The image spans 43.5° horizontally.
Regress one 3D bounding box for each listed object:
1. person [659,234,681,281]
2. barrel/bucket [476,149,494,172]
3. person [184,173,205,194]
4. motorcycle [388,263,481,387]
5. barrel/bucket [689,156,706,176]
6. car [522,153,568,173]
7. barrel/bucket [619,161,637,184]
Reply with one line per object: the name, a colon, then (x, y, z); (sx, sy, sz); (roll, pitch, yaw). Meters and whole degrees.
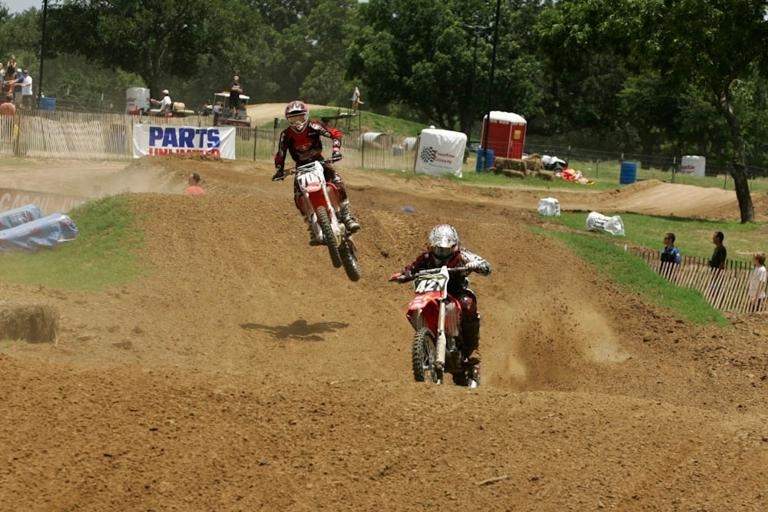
person: (7.477, -0.026, 25.160); (0.531, 1.080, 1.345); (5, 7, 16)
barrel/bucket: (4.690, -4.462, 44.480); (0.807, 1.005, 1.276); (4, 7, 6)
person: (-5.590, -2.150, 28.335); (0.428, 0.674, 0.816); (17, 18, 41)
motorcycle: (1.119, 1.436, 19.208); (1.626, 2.484, 0.929); (-2, 9, -40)
barrel/bucket: (17.745, -5.219, 55.229); (1.244, 1.110, 1.353); (1, -1, 0)
car: (8.284, -5.115, 51.858); (2.702, 1.179, 1.621); (1, 6, 15)
barrel/bucket: (12.217, -4.185, 48.086); (0.768, 1.151, 1.850); (5, 7, 11)
